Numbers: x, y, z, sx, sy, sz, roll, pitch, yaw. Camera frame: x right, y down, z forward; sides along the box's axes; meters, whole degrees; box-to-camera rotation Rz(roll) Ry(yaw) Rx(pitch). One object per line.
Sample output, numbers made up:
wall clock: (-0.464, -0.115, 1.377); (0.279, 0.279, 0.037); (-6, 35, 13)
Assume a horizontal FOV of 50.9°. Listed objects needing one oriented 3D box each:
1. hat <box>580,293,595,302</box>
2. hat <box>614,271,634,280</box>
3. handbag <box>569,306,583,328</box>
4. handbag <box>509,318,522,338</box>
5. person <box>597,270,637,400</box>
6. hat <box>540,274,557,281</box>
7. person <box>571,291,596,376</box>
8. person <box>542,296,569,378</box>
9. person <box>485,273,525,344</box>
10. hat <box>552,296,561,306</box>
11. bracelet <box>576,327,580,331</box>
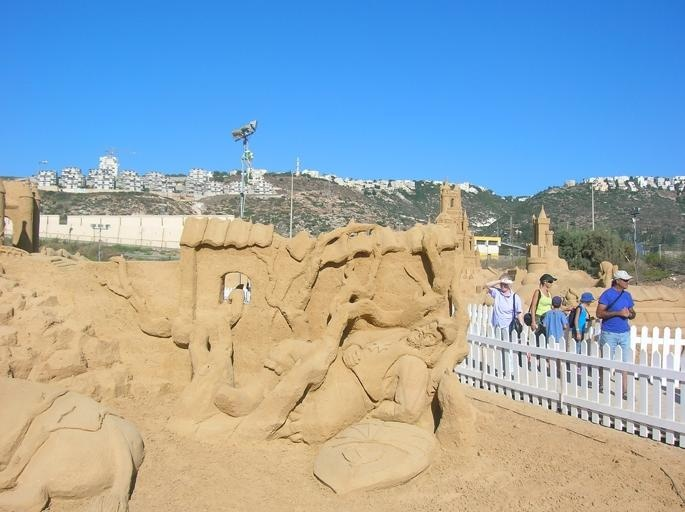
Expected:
hat: (3.988, 0.669, 11.704); (0.250, 0.134, 0.372); (1, 5, 24)
hat: (4.012, 0.274, 10.294); (0.137, 0.104, 0.190); (-6, 5, -38)
handbag: (3.503, 0.922, 10.897); (0.081, 0.349, 0.235); (0, 3, -14)
handbag: (2.760, 1.137, 11.406); (0.152, 0.287, 0.206); (-14, -20, 34)
person: (3.892, 1.123, 10.307); (0.509, 1.826, 1.222); (2, 3, 21)
hat: (3.856, 0.396, 13.452); (0.299, 0.122, 0.224); (-2, 3, 4)
person: (3.677, 1.150, 10.991); (0.381, 1.205, 0.357); (-3, 6, -9)
person: (3.298, 1.135, 11.032); (0.384, 1.096, 0.328); (6, 23, 35)
person: (2.627, 0.800, 11.648); (0.453, 0.886, 0.847); (0, 3, -20)
hat: (3.318, 0.697, 11.144); (0.105, 0.086, 0.174); (26, 17, 20)
bracelet: (3.535, 1.095, 10.770); (0.057, 0.042, 0.057); (0, 3, -8)
